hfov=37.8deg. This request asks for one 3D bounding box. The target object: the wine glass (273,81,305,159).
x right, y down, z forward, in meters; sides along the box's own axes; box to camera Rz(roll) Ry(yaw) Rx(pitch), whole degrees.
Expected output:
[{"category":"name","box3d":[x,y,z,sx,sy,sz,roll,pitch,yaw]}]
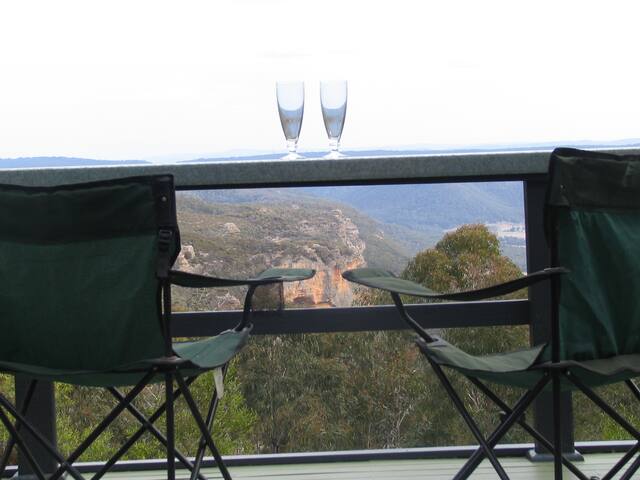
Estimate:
[{"category":"wine glass","box3d":[-0.131,-0.570,4.170,0.135,0.255,0.142,-3,18,-4]}]

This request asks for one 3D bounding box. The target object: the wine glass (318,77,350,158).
[{"category":"wine glass","box3d":[0.064,-0.576,4.197,0.126,0.253,0.147,-1,18,3]}]
